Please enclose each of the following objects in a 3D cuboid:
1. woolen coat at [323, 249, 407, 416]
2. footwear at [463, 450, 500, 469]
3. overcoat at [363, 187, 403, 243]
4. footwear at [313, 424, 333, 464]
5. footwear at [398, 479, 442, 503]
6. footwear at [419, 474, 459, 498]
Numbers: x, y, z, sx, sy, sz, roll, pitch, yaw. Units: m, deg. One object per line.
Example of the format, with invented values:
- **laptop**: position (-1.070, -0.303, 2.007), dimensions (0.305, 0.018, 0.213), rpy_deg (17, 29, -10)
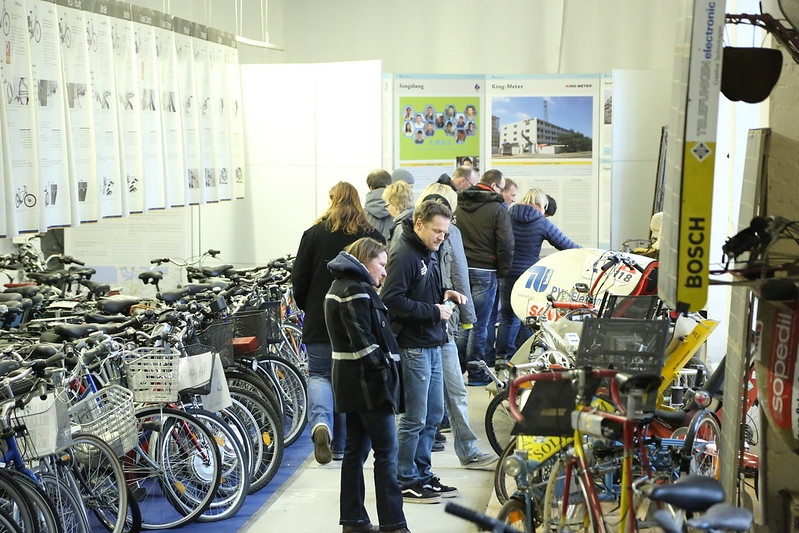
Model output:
- **woolen coat**: position (-0.216, 0.410, 3.951), dimensions (0.460, 0.990, 0.260), rpy_deg (-1, 4, -2)
- **footwear**: position (0.663, 1.578, 5.362), dimensions (0.303, 0.130, 0.123), rpy_deg (-3, 10, -3)
- **overcoat**: position (-0.156, -0.493, 6.452), dimensions (0.386, 0.513, 0.263), rpy_deg (-9, 5, -9)
- **footwear**: position (-0.514, 1.192, 4.417), dimensions (0.109, 0.299, 0.125), rpy_deg (-9, -5, 2)
- **footwear**: position (0.149, 1.644, 4.811), dimensions (0.400, 0.181, 0.150), rpy_deg (2, -4, -4)
- **footwear**: position (0.291, 1.620, 4.844), dimensions (0.303, 0.140, 0.117), rpy_deg (4, -7, -8)
